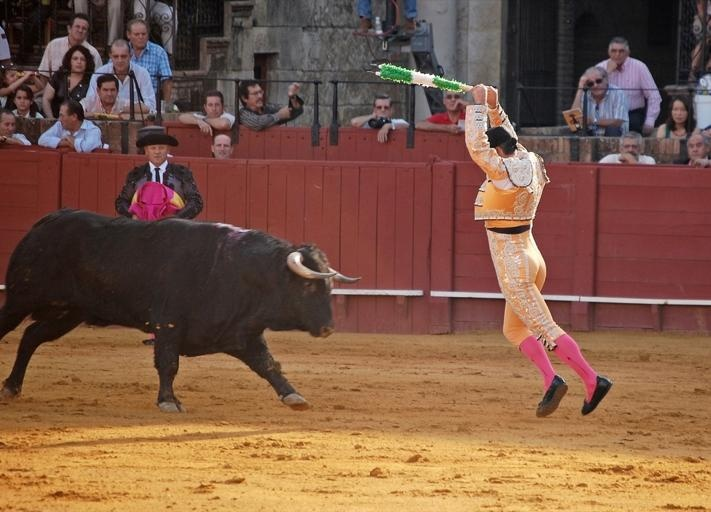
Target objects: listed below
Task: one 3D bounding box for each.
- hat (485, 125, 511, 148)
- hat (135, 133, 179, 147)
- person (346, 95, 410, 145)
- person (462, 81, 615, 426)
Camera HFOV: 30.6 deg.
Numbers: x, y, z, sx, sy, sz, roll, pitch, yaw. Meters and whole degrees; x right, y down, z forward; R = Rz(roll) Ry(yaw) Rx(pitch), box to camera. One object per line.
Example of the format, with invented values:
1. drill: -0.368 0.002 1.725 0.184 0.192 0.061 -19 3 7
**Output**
1. hat: 1.169 -0.967 10.516 0.149 0.138 0.274 -15 -16 40
2. hat: -1.874 -1.100 12.243 0.372 0.137 0.322 0 9 -11
3. person: 0.374 -1.576 15.797 0.792 0.446 0.597 3 4 33
4. person: 1.456 -0.048 10.596 1.163 2.641 0.635 4 10 14
